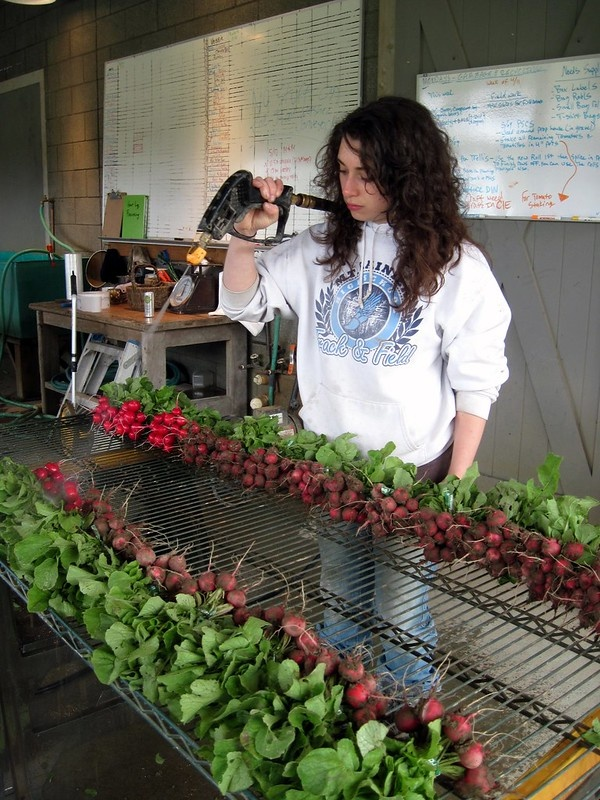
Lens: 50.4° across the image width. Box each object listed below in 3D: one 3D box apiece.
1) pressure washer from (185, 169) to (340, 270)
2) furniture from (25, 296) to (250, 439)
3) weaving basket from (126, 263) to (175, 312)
[{"bbox_3d":[-0.039,-0.420,1.526,0.505,0.200,0.091,-9,28,-37],"label":"pressure washer"},{"bbox_3d":[-0.956,-0.226,3.963,1.116,0.665,0.458,9,6,-14],"label":"furniture"},{"bbox_3d":[-0.905,-0.678,3.873,0.288,0.330,0.367,1,3,-3],"label":"weaving basket"}]
